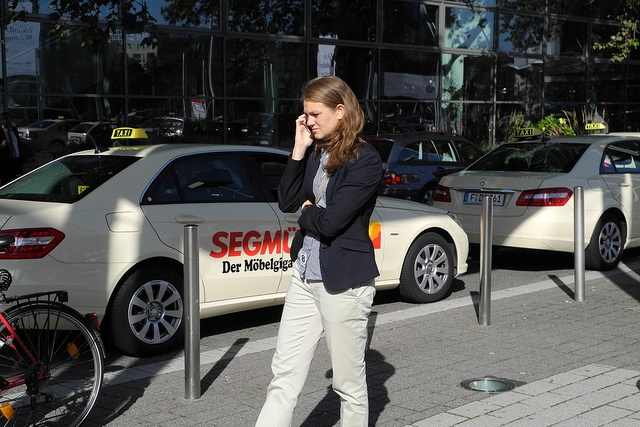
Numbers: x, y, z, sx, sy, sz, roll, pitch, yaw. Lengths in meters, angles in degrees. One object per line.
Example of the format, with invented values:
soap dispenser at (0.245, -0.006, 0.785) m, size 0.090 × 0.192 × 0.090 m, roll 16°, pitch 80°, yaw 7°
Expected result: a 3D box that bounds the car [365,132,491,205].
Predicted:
car at (2.669, -1.185, 12.426) m, size 3.438 × 1.486 × 1.666 m, roll -5°, pitch 7°, yaw -37°
